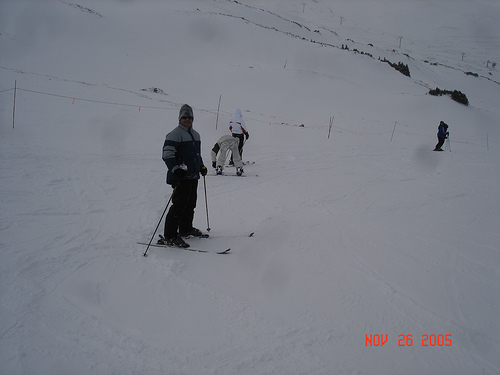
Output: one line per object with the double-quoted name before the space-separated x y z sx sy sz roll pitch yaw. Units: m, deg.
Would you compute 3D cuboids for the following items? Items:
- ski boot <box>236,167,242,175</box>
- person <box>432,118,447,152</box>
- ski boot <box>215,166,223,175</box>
"ski boot" -0.305 -0.456 10.669 0.115 0.189 0.062 3 -6 6
"person" 7.672 -2.123 15.810 0.410 1.177 2.379 7 16 24
"ski boot" -0.832 -0.462 10.608 0.252 0.282 0.155 0 -2 -3
